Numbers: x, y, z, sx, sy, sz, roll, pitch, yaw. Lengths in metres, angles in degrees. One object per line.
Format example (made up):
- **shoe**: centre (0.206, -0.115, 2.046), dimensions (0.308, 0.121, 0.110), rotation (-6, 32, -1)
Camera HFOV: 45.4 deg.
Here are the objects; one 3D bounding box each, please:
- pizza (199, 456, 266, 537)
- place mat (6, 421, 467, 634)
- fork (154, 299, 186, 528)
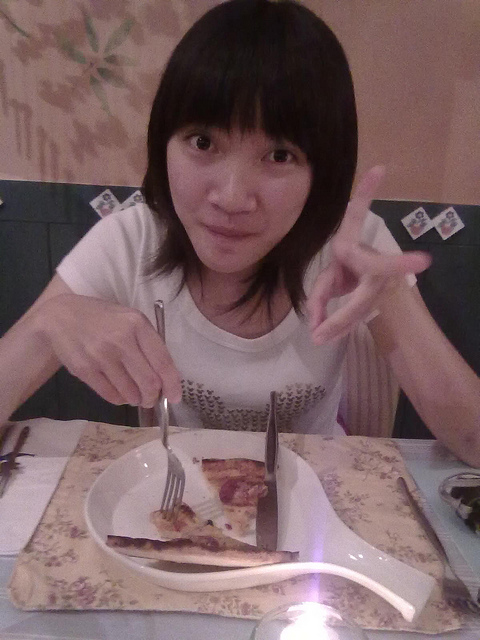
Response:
- **pizza**: centre (0.002, 0.246, 0.823), dimensions (0.104, 0.024, 0.150), rotation (-11, 35, -5)
- **place mat**: centre (-0.005, 0.260, 0.808), dimensions (0.531, 0.066, 0.379), rotation (0, 16, 2)
- **fork**: centre (-0.100, 0.128, 0.815), dimensions (0.038, 0.315, 0.042), rotation (-3, -1, -29)
